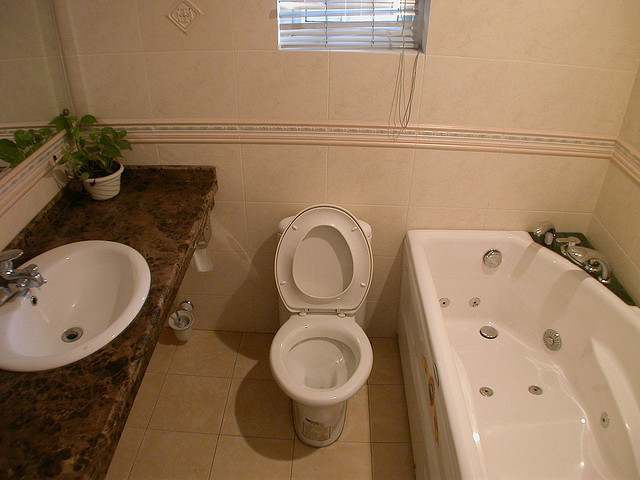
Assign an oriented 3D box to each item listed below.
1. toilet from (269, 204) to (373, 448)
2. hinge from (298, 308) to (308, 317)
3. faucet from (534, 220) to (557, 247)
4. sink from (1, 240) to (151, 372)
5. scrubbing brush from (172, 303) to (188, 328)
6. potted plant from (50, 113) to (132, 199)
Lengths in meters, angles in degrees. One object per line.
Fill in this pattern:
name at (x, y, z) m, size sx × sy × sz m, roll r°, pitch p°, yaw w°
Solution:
toilet at (0.014, 0.332, 2.352) m, size 0.483 × 0.744 × 0.775 m, roll 3°, pitch 38°, yaw -5°
hinge at (-0.087, 0.372, 2.504) m, size 0.040 × 0.042 × 0.041 m, roll 2°, pitch -3°, yaw 14°
faucet at (1.197, -0.040, 2.561) m, size 0.086 × 0.159 × 0.142 m, roll 9°, pitch 19°, yaw 28°
sink at (-0.901, 0.243, 1.841) m, size 0.479 × 0.146 × 0.592 m, roll 3°, pitch 39°, yaw -7°
scrubbing brush at (-0.813, 0.467, 2.846) m, size 0.073 × 0.065 × 0.070 m, roll 1°, pitch 38°, yaw -8°
potted plant at (-1.095, -0.413, 2.367) m, size 0.331 × 0.351 × 0.364 m, roll 2°, pitch 38°, yaw -6°
